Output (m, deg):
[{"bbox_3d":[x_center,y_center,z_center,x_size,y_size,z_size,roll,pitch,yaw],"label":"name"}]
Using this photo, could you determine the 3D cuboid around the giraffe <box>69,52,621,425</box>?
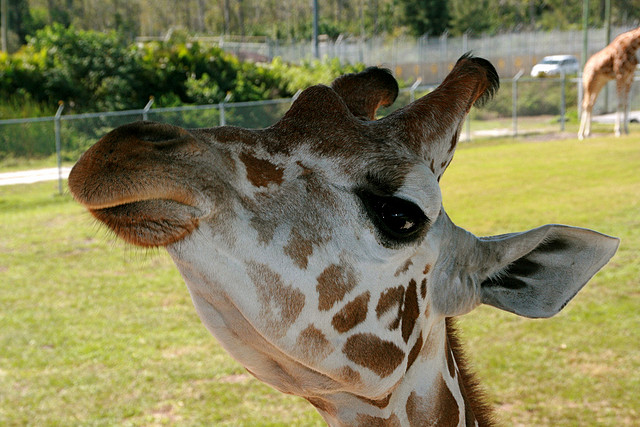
[{"bbox_3d":[-0.214,0.285,18.758,7.043,5.867,5.528,14,-14,-21],"label":"giraffe"}]
